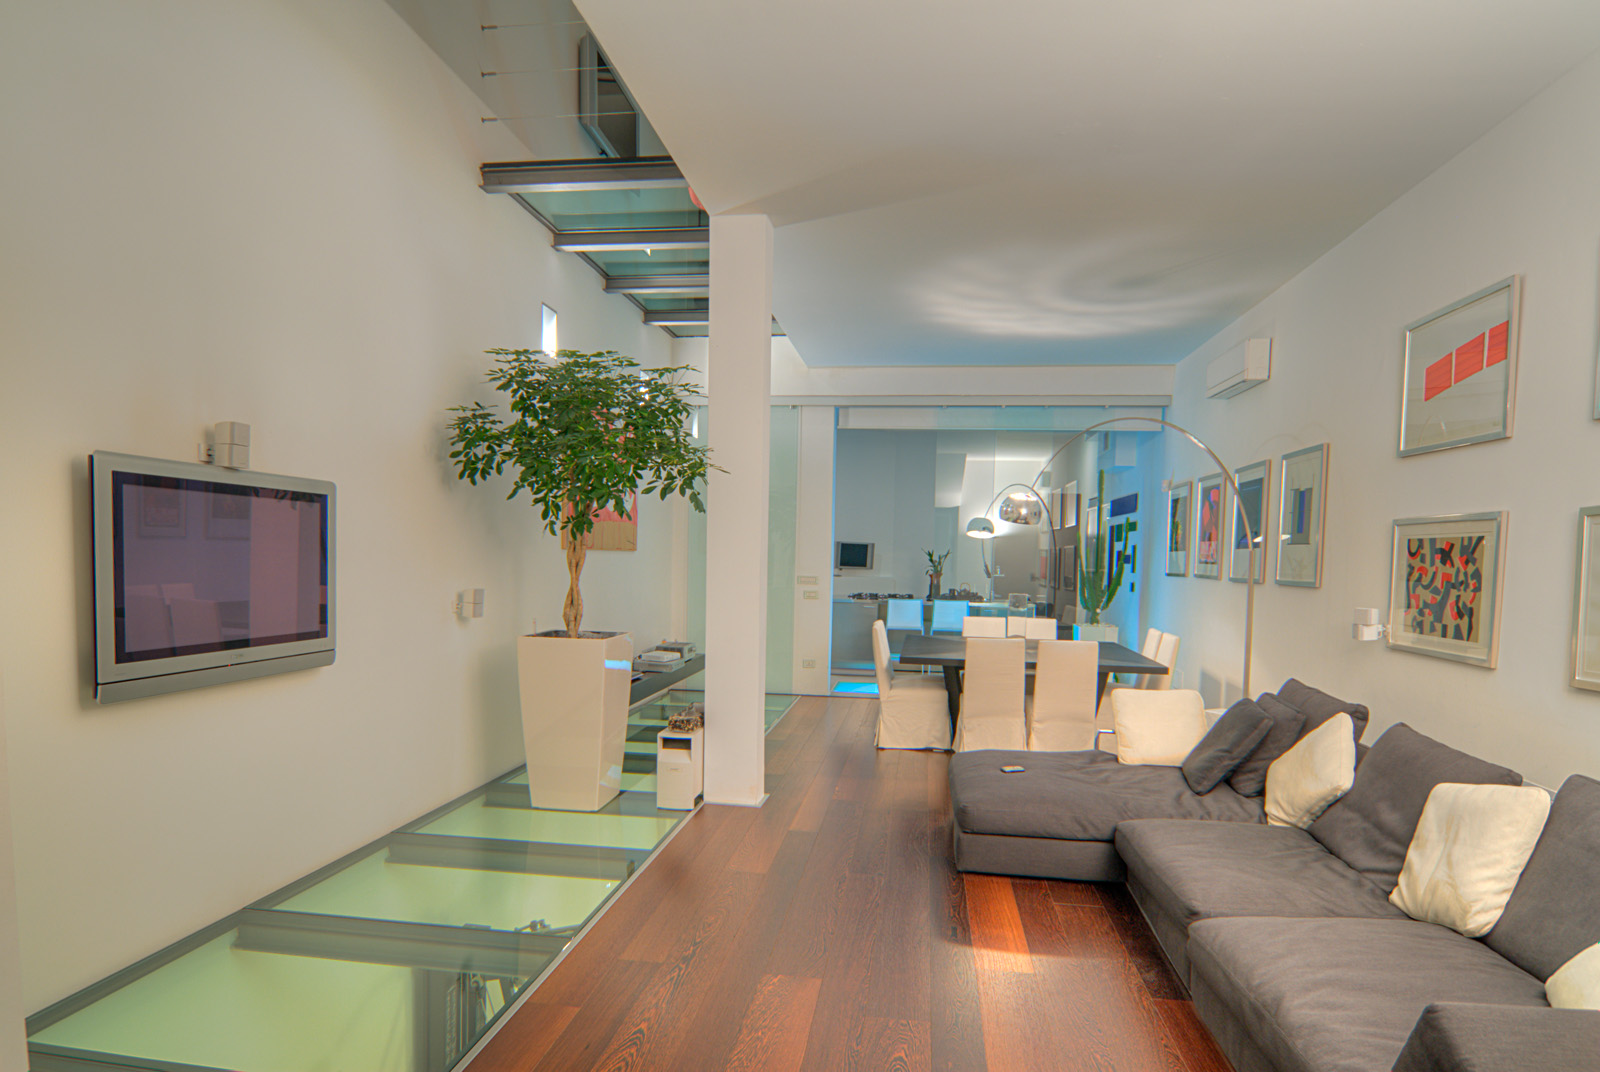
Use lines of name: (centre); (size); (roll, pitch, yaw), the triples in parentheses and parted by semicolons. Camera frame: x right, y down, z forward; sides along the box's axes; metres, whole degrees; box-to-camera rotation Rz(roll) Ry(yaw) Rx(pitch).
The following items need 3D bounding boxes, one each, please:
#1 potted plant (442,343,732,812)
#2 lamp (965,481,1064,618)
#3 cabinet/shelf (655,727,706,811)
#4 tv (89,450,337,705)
potted plant: (-1.352, 0.141, 6.814); (1.478, 2.690, 1.858); (3, 12, 2)
lamp: (2.056, 0.161, 10.160); (0.622, 1.433, 1.019); (15, -18, -40)
cabinet/shelf: (-0.738, 1.432, 6.397); (0.287, 0.453, 0.443); (1, 1, 5)
tv: (-2.643, 0.174, 4.602); (0.123, 1.034, 1.233); (1, -1, 21)
